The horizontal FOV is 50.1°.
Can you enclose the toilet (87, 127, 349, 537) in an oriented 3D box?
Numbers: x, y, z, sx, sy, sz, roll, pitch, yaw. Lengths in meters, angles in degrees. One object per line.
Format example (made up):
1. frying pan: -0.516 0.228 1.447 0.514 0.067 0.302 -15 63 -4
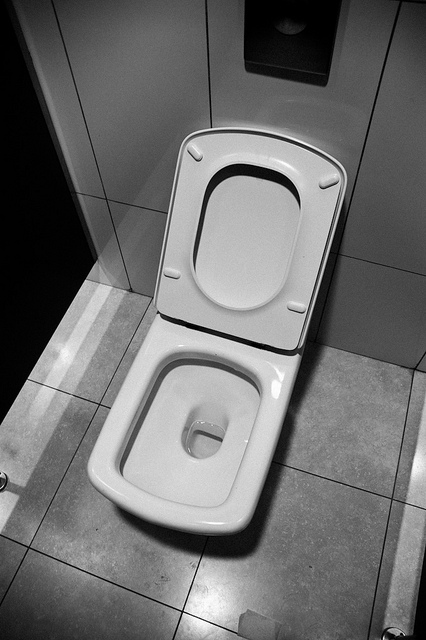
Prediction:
1. toilet: -0.011 0.087 0.997 0.257 0.675 0.693 14 51 6
